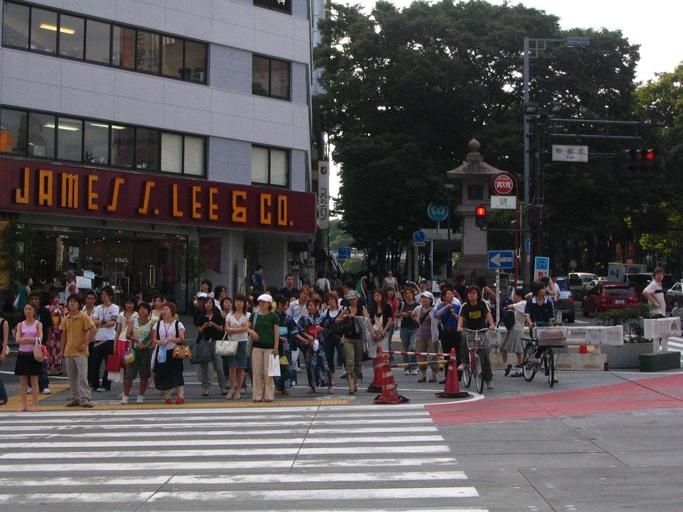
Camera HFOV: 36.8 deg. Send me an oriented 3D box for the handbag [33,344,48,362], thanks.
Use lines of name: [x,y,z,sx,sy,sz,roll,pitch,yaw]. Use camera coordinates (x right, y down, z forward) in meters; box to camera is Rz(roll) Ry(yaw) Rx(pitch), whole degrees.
handbag: [-7.067,2.194,23.721,0.246,0.463,0.621,-2,7,-12]

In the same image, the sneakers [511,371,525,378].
sneakers: [4.699,3.153,27.340,0.358,0.260,0.132,1,-3,9]

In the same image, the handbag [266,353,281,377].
handbag: [-1.662,2.552,24.137,0.285,0.862,0.539,-3,-3,8]

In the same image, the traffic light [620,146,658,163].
traffic light: [10.481,-3.571,35.942,1.076,0.423,0.302,2,7,21]

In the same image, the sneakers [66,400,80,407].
sneakers: [-6.381,3.417,23.930,0.226,0.132,0.425,-7,9,-42]

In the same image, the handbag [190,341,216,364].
handbag: [-3.416,2.345,24.996,0.561,0.605,0.217,-1,5,4]

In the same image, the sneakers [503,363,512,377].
sneakers: [4.456,3.083,27.384,0.173,0.459,0.163,14,11,-6]

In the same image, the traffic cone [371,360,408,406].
traffic cone: [1.064,2.943,24.068,0.850,1.188,0.857,-5,-1,5]

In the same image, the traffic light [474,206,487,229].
traffic light: [4.812,-1.334,35.328,0.298,0.754,0.711,1,7,15]

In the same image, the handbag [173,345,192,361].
handbag: [-3.765,2.261,24.176,0.412,0.397,0.499,4,8,36]

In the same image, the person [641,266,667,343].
person: [8.991,0.908,29.396,0.586,1.504,3.041,1,7,16]

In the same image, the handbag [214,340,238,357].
handbag: [-2.810,2.216,24.697,0.372,0.392,0.141,1,-22,2]

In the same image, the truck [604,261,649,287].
truck: [19.777,1.511,70.505,2.002,2.113,3.160,0,3,-1]

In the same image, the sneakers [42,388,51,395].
sneakers: [-7.545,3.418,25.888,0.116,0.143,0.321,1,-8,-21]

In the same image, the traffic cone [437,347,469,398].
traffic cone: [2.618,2.750,24.140,0.737,1.139,0.546,0,6,3]

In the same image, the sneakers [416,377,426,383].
sneakers: [2.059,3.243,26.928,0.281,0.118,0.097,3,3,39]

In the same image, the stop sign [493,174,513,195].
stop sign: [5.705,-2.531,35.938,0.637,0.684,0.659,2,1,26]

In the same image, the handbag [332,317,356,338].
handbag: [0.047,1.716,24.743,0.508,0.521,0.389,2,-5,1]

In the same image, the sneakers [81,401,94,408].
sneakers: [-5.969,3.449,23.805,0.267,0.121,0.110,-2,-2,2]

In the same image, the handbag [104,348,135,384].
handbag: [-5.309,2.583,24.469,0.775,1.123,0.380,4,8,35]

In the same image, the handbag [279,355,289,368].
handbag: [-1.447,2.581,25.167,0.200,0.251,0.242,6,-12,-33]

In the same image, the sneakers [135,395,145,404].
sneakers: [-4.875,3.406,24.438,0.194,0.204,0.125,3,-2,0]
